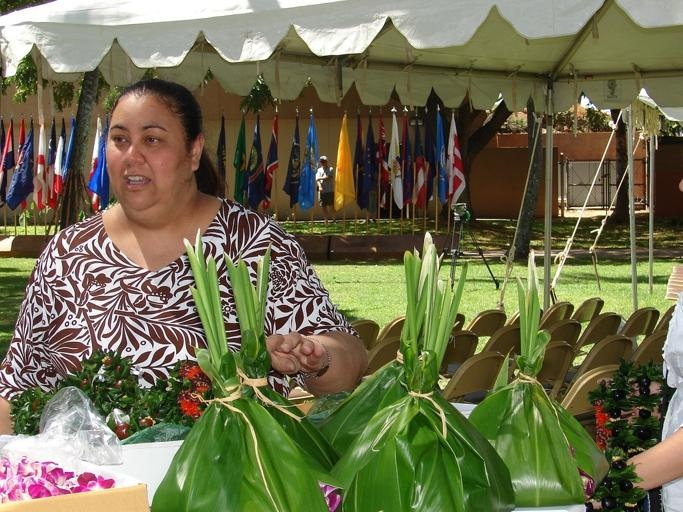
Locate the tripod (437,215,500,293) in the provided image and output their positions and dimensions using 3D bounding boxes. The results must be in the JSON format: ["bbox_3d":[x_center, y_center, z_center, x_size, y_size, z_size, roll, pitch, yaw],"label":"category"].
[{"bbox_3d":[2.191,-0.047,13.360,0.925,1.744,1.054,9,11,31],"label":"tripod"}]

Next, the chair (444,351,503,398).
[{"bbox_3d":[0.708,0.687,4.421,0.448,0.298,0.256,1,-1,-26],"label":"chair"}]

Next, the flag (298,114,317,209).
[{"bbox_3d":[-0.644,-1.678,15.093,0.377,0.299,2.398,-6,-42,-13],"label":"flag"}]

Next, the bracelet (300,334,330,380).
[{"bbox_3d":[-0.076,0.321,2.419,0.084,0.126,0.033,-25,-34,1],"label":"bracelet"}]
